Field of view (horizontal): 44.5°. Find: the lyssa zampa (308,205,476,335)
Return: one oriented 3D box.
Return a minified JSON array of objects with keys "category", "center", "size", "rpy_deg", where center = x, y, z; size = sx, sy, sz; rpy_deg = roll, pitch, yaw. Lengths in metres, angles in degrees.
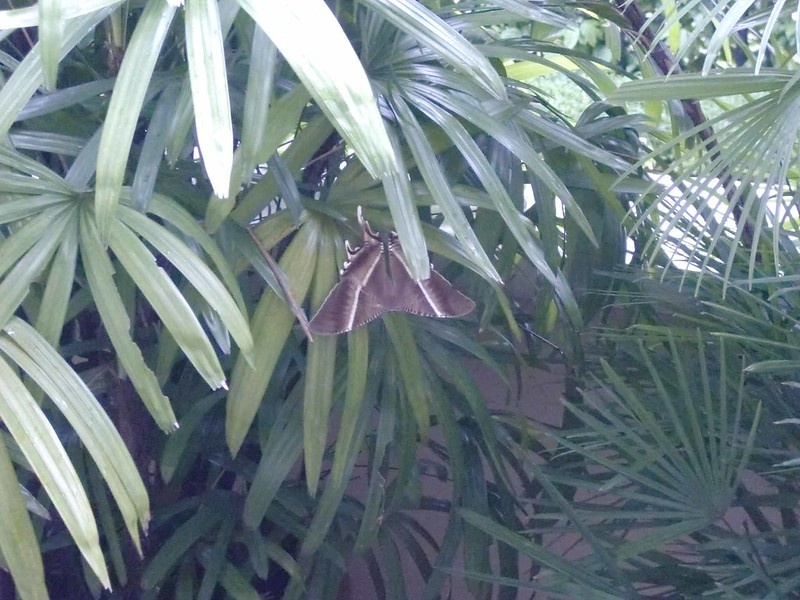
[{"category":"lyssa zampa","center":[-0.022,-0.019,1.393],"size":[0.227,0.181,0.047],"rpy_deg":[-14,19,-24]}]
